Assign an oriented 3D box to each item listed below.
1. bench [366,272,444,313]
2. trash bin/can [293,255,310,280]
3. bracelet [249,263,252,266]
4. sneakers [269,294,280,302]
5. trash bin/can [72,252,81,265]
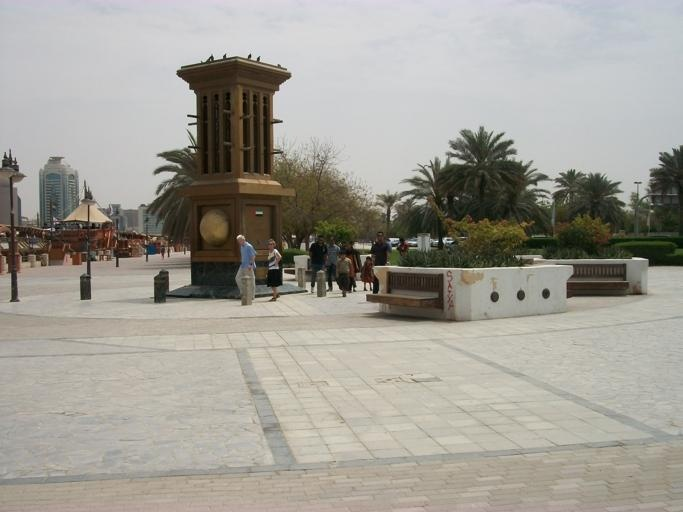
[{"bbox_3d":[1.360,0.773,16.000,0.686,0.903,2.041,1,0,-32],"label":"bench"},{"bbox_3d":[-1.705,0.454,30.612,0.787,1.480,0.781,-1,0,0],"label":"trash bin/can"},{"bbox_3d":[-2.376,0.239,19.089,0.049,0.048,0.049,4,-6,-43],"label":"bracelet"},{"bbox_3d":[-1.891,1.204,20.422,0.161,0.115,0.416,0,2,-18],"label":"sneakers"},{"bbox_3d":[-18.630,0.247,51.468,0.461,0.722,1.376,-1,5,-13],"label":"trash bin/can"}]
